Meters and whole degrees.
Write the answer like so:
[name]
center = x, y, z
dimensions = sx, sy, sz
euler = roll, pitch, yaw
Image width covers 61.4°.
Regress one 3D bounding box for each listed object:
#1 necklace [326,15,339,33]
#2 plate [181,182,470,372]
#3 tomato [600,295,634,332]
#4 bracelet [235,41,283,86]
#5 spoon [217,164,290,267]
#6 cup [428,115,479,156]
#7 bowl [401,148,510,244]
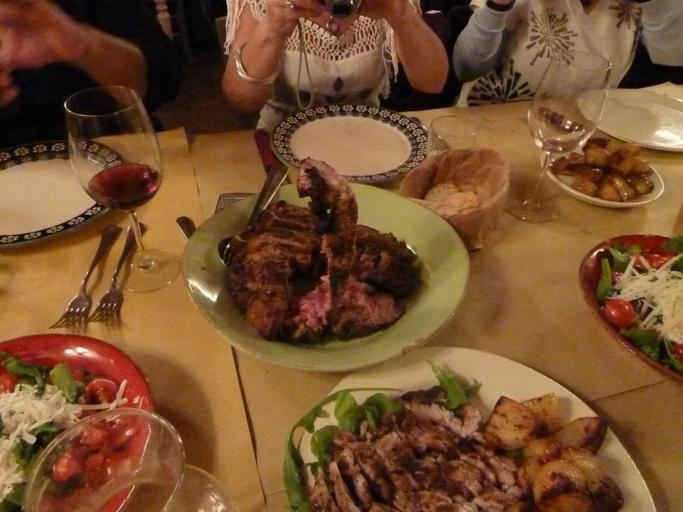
[necklace]
center = -0.040, -0.800, 1.988
dimensions = 0.043, 0.061, 0.021
euler = -3, 41, 2
[plate]
center = -0.034, 0.042, 1.528
dimensions = 0.739, 0.108, 0.573
euler = -7, 53, -6
[tomato]
center = 0.728, 0.156, 1.563
dimensions = 0.078, 0.060, 0.078
euler = 40, 85, 3
[bracelet]
center = -0.311, -0.710, 2.175
dimensions = 0.167, 0.039, 0.173
euler = -33, 86, -25
[spoon]
center = -0.233, -0.147, 1.643
dimensions = 0.097, 0.051, 0.387
euler = 20, 57, 8
[cup]
center = 0.373, -0.398, 1.918
dimensions = 0.132, 0.140, 0.137
euler = 1, 50, -1
[bowl]
center = 0.388, -0.193, 1.774
dimensions = 0.238, 0.251, 0.172
euler = 15, 44, 24
